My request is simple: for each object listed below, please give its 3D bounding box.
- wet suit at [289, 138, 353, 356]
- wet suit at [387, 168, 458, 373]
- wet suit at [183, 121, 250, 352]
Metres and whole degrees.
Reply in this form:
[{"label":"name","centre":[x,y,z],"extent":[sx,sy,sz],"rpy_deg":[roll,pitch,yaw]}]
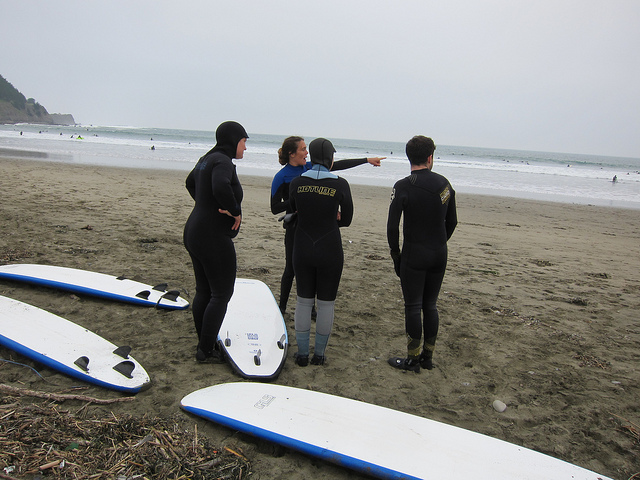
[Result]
[{"label":"wet suit","centre":[0.024,0.128,5.219],"extent":[0.725,2.342,0.649],"rpy_deg":[2,5,1]},{"label":"wet suit","centre":[1.060,0.332,5.203],"extent":[0.749,2.183,0.364],"rpy_deg":[3,11,1]},{"label":"wet suit","centre":[-1.110,0.021,4.932],"extent":[0.605,2.419,0.648],"rpy_deg":[4,11,2]}]
